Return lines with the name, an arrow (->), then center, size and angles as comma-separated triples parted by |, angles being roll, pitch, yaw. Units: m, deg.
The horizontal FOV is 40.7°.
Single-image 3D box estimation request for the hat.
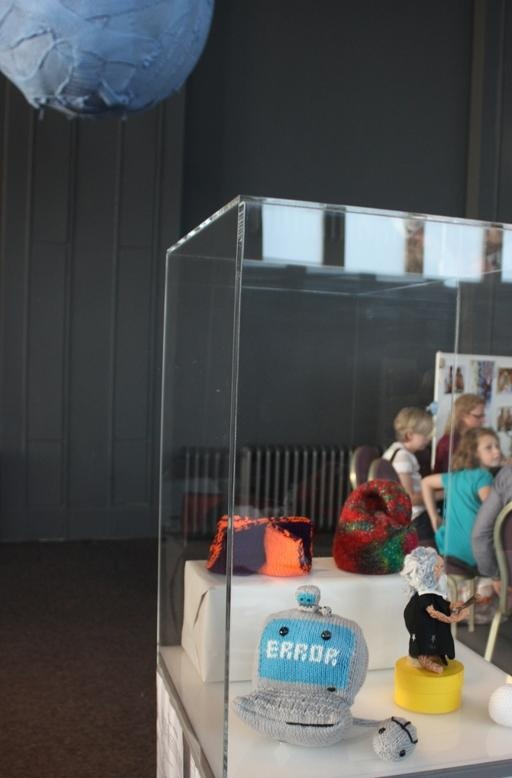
hat -> 0.094, 0.384, 0.937 | 0.242, 0.213, 0.138 | -3, -9, 18
